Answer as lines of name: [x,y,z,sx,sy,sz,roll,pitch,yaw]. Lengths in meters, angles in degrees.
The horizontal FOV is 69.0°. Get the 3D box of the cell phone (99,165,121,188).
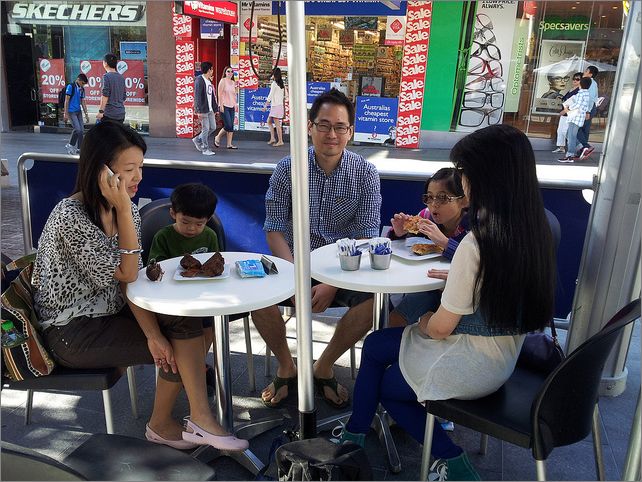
cell phone: [-0.929,-0.283,2.067,0.026,0.087,0.084,-8,4,42]

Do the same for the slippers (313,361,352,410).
slippers: [0.036,0.852,2.806,0.129,0.098,0.325,-22,34,-36]

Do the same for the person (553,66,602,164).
person: [5.275,-2.553,9.518,0.676,1.846,1.144,11,19,28]

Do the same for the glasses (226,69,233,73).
glasses: [-2.034,-3.741,10.307,0.103,0.030,0.104,-3,-3,-8]

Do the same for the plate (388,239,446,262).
plate: [0.455,0.050,2.443,0.138,0.017,0.159,18,26,42]

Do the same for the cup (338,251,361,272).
cup: [0.137,0.096,2.215,0.087,0.059,0.087,1,6,0]

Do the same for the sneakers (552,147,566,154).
sneakers: [5.380,-2.032,10.567,0.105,0.129,0.289,-15,19,-42]

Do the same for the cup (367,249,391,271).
cup: [0.280,0.093,2.203,0.083,0.056,0.083,1,8,0]

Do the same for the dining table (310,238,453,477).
dining table: [0.253,0.486,2.637,0.934,1.062,0.882,3,17,14]

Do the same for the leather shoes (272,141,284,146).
leather shoes: [-1.089,-2.455,11.838,0.286,0.119,0.108,3,19,9]

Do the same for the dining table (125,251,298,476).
dining table: [-0.402,0.544,2.524,0.945,1.078,0.922,-11,24,-27]

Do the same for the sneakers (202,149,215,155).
sneakers: [-2.439,-1.918,10.113,0.317,0.131,0.128,7,29,39]

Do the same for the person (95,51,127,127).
person: [-3.922,-2.830,8.647,0.512,1.216,1.020,-6,19,-23]

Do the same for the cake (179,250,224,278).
cake: [-0.554,0.115,2.186,0.129,0.058,0.129,5,17,-5]

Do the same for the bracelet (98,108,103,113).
bracelet: [-4.053,-2.393,8.577,0.084,0.061,0.093,1,9,3]
